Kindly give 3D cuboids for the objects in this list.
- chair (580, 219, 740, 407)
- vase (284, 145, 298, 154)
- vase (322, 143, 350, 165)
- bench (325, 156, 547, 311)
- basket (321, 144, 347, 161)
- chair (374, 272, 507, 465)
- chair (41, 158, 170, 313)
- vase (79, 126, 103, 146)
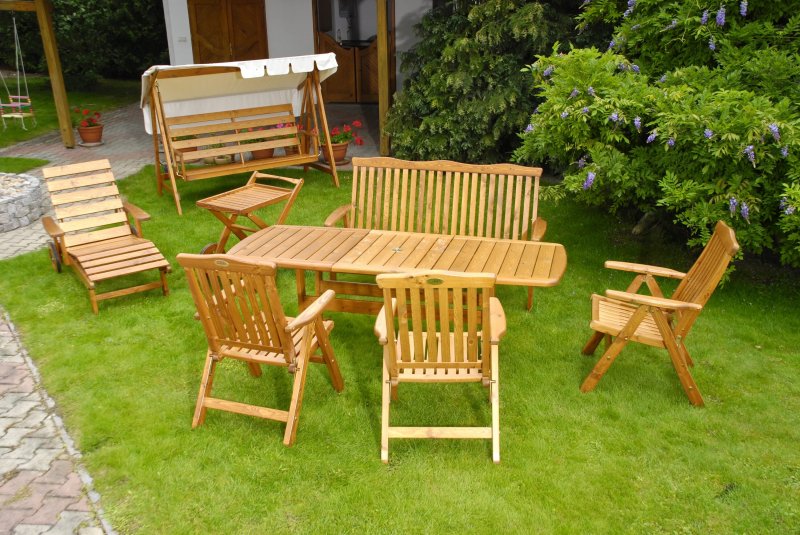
[{"bbox_3d":[2.444,0.366,5.567,1.163,1.531,1.137,8,25,18],"label":"chair"},{"bbox_3d":[-2.051,-2.227,10.921,0.234,0.154,0.120,2,12,7],"label":"vase"},{"bbox_3d":[-1.207,-2.274,11.247,0.484,0.361,0.477,-17,22,-37],"label":"vase"},{"bbox_3d":[0.445,-0.361,6.477,2.126,1.147,0.727,3,24,7],"label":"bench"},{"bbox_3d":[-1.198,-2.218,11.113,0.388,0.268,0.391,-2,17,-3],"label":"basket"},{"bbox_3d":[0.372,0.648,5.265,1.162,1.599,1.427,1,24,2],"label":"chair"},{"bbox_3d":[-3.688,-0.392,7.586,1.418,1.423,2.294,-17,49,-31],"label":"chair"},{"bbox_3d":[-6.874,-2.954,12.854,0.448,0.403,0.497,-13,27,-27],"label":"vase"}]
